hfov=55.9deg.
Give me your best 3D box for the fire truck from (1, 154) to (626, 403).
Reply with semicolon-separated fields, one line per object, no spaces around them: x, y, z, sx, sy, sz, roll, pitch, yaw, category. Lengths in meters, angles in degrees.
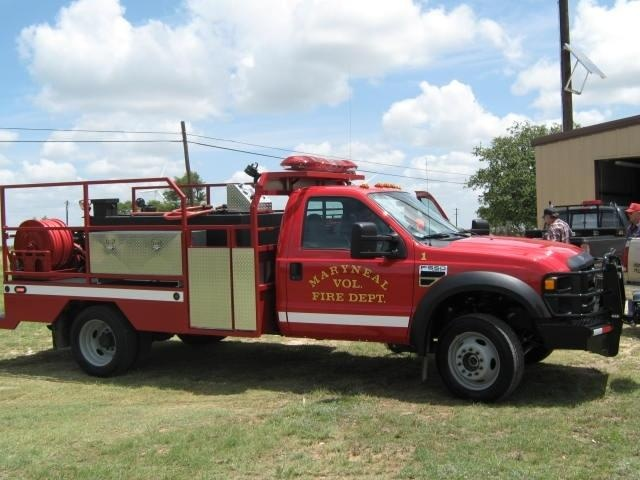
0.212;0.379;8.571;9.489;2.860;3.414;-1;2;24;fire truck
